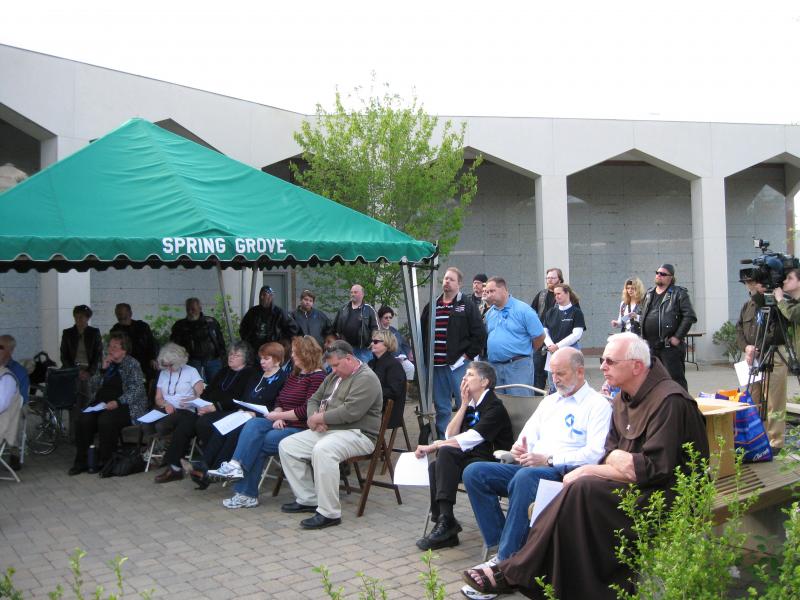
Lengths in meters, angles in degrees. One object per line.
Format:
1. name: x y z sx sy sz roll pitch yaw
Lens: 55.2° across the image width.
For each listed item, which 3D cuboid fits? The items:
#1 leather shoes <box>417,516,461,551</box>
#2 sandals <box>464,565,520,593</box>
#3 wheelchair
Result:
1. leather shoes: 0.349 2.071 6.869 0.397 0.277 0.248 -3 6 -5
2. sandals: 0.710 2.127 5.859 0.364 0.153 0.198 7 2 -10
3. wheelchair: -4.824 1.488 10.813 0.734 1.492 0.829 -1 5 -38
